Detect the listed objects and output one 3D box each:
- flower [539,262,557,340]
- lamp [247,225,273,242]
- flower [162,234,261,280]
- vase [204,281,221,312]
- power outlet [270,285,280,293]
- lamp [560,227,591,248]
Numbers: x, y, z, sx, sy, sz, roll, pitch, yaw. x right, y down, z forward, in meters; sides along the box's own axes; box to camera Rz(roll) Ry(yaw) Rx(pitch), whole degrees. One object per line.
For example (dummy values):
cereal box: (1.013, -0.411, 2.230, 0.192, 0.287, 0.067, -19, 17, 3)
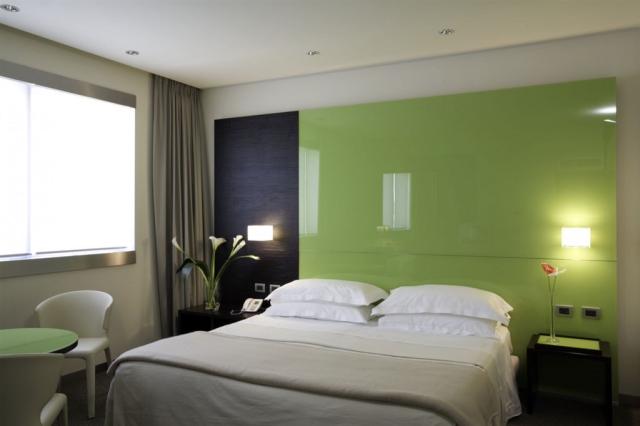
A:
flower: (2.220, 0.864, 4.156, 0.206, 0.706, 0.306, 8, 10, 27)
lamp: (-0.742, 0.271, 5.290, 0.349, 0.254, 0.236, 5, 9, 8)
flower: (-1.324, 0.566, 5.385, 1.040, 0.650, 0.702, 0, 9, -20)
vase: (-1.307, 1.018, 5.175, 0.181, 0.365, 0.310, 1, 9, -14)
power outlet: (-0.565, 0.928, 5.264, 0.110, 0.111, 0.031, 7, 3, 27)
lamp: (2.447, 0.237, 4.081, 0.221, 0.208, 0.051, 4, 3, 16)
